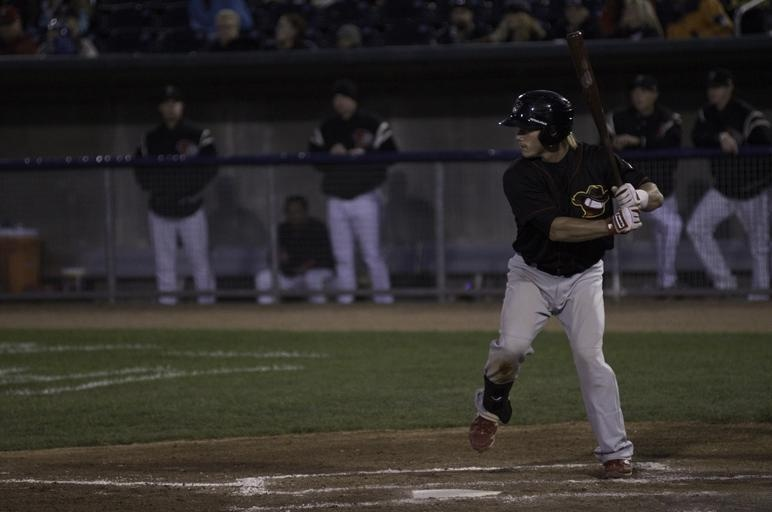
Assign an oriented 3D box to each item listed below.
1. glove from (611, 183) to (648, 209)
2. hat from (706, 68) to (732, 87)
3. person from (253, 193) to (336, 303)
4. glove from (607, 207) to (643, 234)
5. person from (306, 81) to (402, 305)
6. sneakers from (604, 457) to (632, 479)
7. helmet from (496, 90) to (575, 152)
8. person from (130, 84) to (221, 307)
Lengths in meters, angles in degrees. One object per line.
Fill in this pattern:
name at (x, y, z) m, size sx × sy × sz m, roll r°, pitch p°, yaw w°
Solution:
glove at (1.851, -0.447, 14.096) m, size 0.273 × 0.201 × 0.176 m, roll -2°, pitch -3°, yaw 6°
hat at (2.976, -1.572, 16.599) m, size 0.201 × 0.180 × 0.176 m, roll -2°, pitch -3°, yaw 5°
person at (-0.814, -0.080, 16.760) m, size 0.726 × 0.854 × 0.654 m, roll 4°, pitch 14°, yaw 13°
glove at (1.826, -0.265, 14.062) m, size 0.169 × 0.187 × 0.292 m, roll -4°, pitch -3°, yaw 34°
person at (-0.302, -0.549, 16.683) m, size 0.755 × 1.979 × 0.569 m, roll -2°, pitch -3°, yaw -8°
sneakers at (1.751, 1.610, 14.064) m, size 0.104 × 0.104 × 0.265 m, roll -1°, pitch 2°, yaw 24°
helmet at (1.164, -1.068, 14.285) m, size 0.607 × 0.373 × 0.438 m, roll -6°, pitch 20°, yaw -34°
person at (-1.857, -0.534, 16.402) m, size 0.751 × 1.940 × 0.575 m, roll -3°, pitch -3°, yaw 12°
